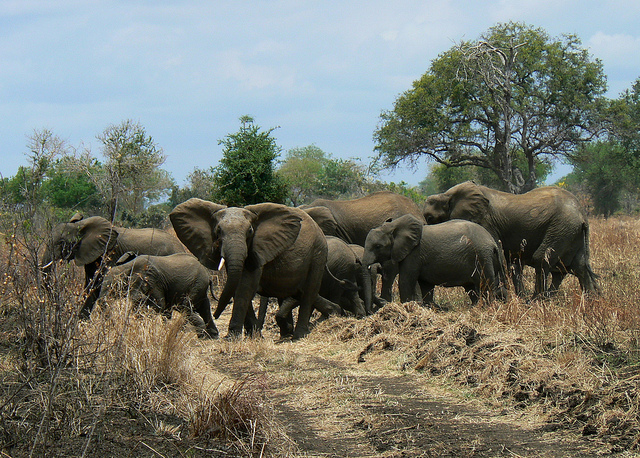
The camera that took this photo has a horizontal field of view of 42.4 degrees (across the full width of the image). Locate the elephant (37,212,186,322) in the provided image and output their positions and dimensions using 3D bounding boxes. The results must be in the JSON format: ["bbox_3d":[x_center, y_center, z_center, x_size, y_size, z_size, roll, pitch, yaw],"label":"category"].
[{"bbox_3d":[-3.959,0.810,15.824,3.305,1.952,1.386,8,-8,-27],"label":"elephant"}]

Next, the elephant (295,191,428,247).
[{"bbox_3d":[0.964,-0.217,19.598,3.009,1.647,1.260,1,-1,-1],"label":"elephant"}]

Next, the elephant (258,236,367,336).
[{"bbox_3d":[-0.464,1.129,16.904,2.662,1.614,1.217,-4,-2,-18],"label":"elephant"}]

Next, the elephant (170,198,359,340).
[{"bbox_3d":[-0.929,0.625,14.952,1.789,1.915,3.130,-13,-24,38],"label":"elephant"}]

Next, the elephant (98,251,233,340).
[{"bbox_3d":[-2.573,1.129,14.347,1.109,1.568,2.561,-3,-7,24],"label":"elephant"}]
